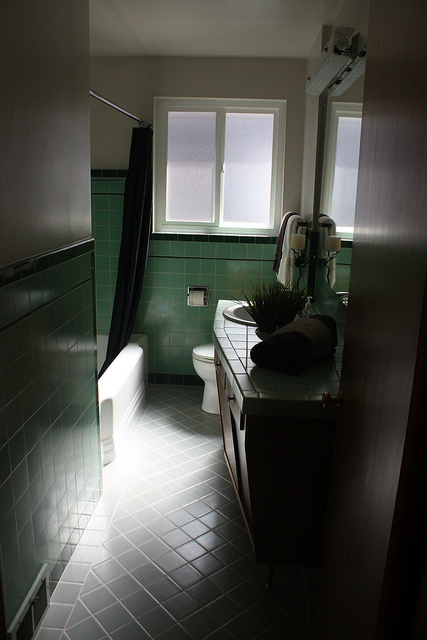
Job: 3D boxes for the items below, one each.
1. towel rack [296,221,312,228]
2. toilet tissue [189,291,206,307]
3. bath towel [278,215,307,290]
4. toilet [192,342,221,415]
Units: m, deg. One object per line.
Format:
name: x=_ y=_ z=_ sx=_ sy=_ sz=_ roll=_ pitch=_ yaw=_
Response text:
towel rack: x=0.584 y=-0.618 z=2.868 sx=0.096 sy=0.041 sz=0.254 roll=3 pitch=12 yaw=9
toilet tissue: x=-0.134 y=-0.175 z=3.601 sx=0.103 sy=0.156 sz=0.096 roll=2 pitch=14 yaw=6
bath towel: x=0.490 y=-0.493 z=3.007 sx=0.063 sy=0.428 sz=0.319 roll=6 pitch=12 yaw=-6
toilet: x=-0.059 y=0.420 z=3.259 sx=0.187 sy=0.528 sz=0.512 roll=0 pitch=10 yaw=-3
